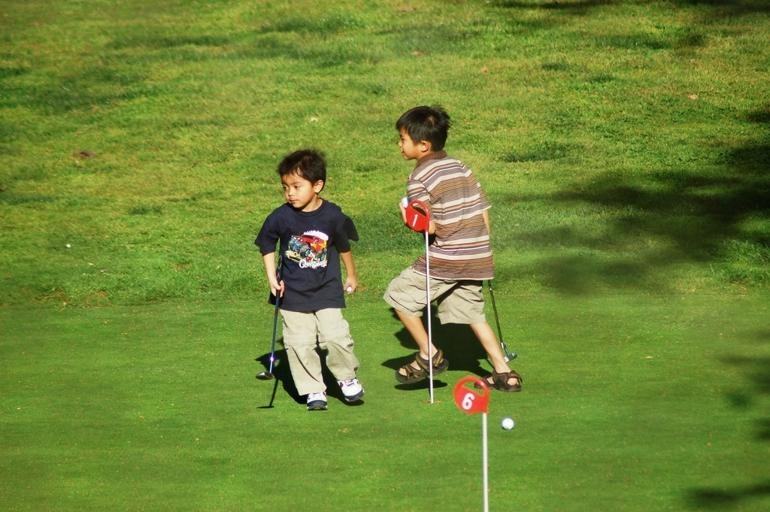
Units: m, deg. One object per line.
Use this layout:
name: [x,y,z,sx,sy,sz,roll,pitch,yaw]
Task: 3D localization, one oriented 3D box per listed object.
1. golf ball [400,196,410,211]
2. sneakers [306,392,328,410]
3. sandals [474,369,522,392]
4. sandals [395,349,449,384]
golf ball: [0.213,-0.596,14.557,0.134,0.190,0.110,1,-2,0]
sneakers: [-0.746,1.569,14.610,0.230,0.186,0.197,-6,31,-3]
sandals: [1.258,1.374,14.827,0.480,0.188,0.228,7,11,28]
sandals: [0.404,1.276,14.955,0.629,0.256,0.292,-15,44,12]
